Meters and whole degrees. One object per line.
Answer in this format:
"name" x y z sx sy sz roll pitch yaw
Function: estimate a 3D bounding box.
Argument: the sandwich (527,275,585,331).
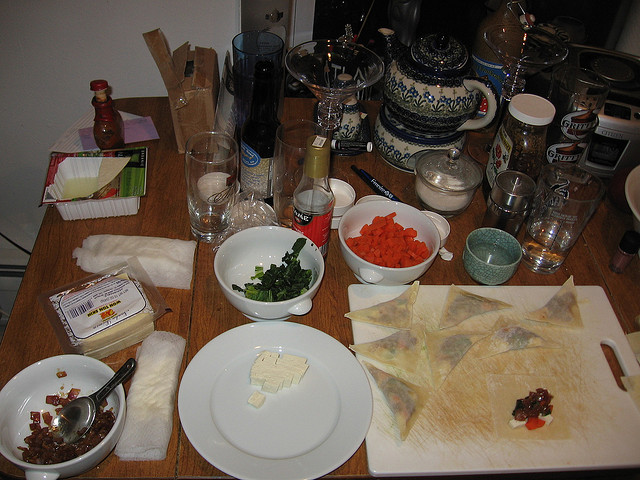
"sandwich" 0.592 0.174 1.162 0.169 0.030 0.102 -27 55 -24

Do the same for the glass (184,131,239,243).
"glass" -0.267 -0.125 1.276 0.131 0.298 0.164 -2 31 -14

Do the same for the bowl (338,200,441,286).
"bowl" 0.168 0.015 1.217 0.248 0.124 0.216 5 48 2

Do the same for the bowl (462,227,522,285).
"bowl" 0.426 0.050 1.218 0.133 0.102 0.118 34 54 25

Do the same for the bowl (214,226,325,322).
"bowl" -0.114 0.078 1.118 0.243 0.091 0.210 5 48 1

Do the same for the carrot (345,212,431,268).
"carrot" 0.165 0.008 1.199 0.129 0.034 0.142 9 49 3

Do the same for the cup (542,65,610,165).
"cup" 0.716 -0.332 1.423 0.164 0.266 0.159 3 30 -2

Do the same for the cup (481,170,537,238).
"cup" 0.509 -0.079 1.299 0.107 0.187 0.115 1 32 -1

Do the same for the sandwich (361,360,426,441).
"sandwich" 0.154 0.320 1.018 0.115 0.024 0.112 40 66 11

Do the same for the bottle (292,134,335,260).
"bottle" -0.017 -0.089 1.141 0.093 0.311 0.103 9 49 1

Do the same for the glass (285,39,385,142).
"glass" 0.038 -0.433 1.358 0.249 0.161 0.229 -27 54 -25

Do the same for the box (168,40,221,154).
"box" -0.371 -0.427 1.461 0.125 0.209 0.251 -3 47 -5

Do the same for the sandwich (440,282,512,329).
"sandwich" 0.343 0.159 1.158 0.114 0.014 0.102 -36 54 -27

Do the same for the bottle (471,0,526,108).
"bottle" 0.547 -0.571 1.516 0.143 0.247 0.310 15 48 12

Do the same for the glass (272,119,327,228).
"glass" -0.052 -0.150 1.178 0.138 0.246 0.143 31 41 24

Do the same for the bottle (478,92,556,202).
"bottle" 0.538 -0.246 1.310 0.119 0.316 0.182 0 43 1

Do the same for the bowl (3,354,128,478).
"bowl" -0.492 0.347 0.931 0.232 0.114 0.215 2 48 -2

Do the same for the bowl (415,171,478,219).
"bowl" 0.342 -0.104 1.367 0.136 0.110 0.132 15 40 -13

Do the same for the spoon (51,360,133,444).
"spoon" -0.430 0.315 0.984 0.072 0.030 0.220 44 66 6

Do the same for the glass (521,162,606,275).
"glass" 0.635 -0.051 1.282 0.138 0.232 0.146 -20 47 -26
